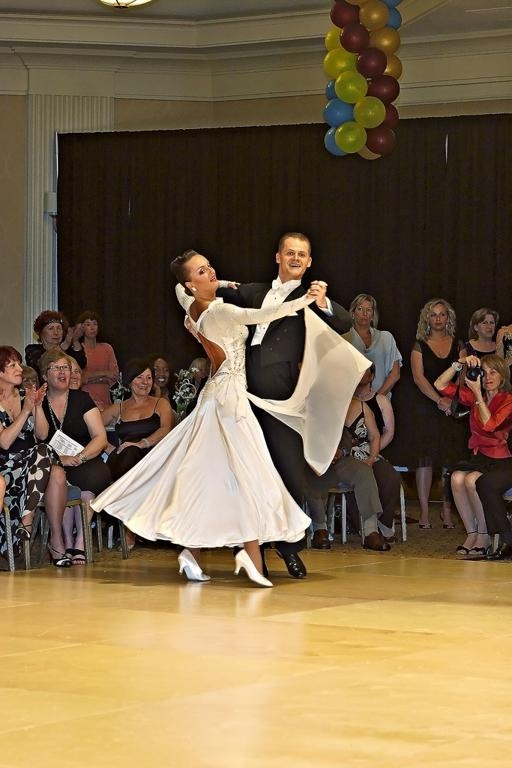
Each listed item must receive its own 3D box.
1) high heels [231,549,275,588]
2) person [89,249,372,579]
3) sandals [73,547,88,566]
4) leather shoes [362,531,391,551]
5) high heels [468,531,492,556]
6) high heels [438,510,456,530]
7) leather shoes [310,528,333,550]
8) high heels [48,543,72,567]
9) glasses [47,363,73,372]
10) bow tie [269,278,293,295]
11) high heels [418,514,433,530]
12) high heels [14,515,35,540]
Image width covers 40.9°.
[{"bbox_3d":[-0.021,0.935,3.473,0.150,0.193,0.224,1,-3,-39],"label":"high heels"},{"bbox_3d":[-0.147,0.173,3.577,1.322,1.745,0.630,-1,-2,13],"label":"person"},{"bbox_3d":[-1.125,1.087,4.322,0.088,0.071,0.163,0,-2,-15],"label":"sandals"},{"bbox_3d":[0.867,1.133,4.949,0.087,0.094,0.232,0,-7,-26],"label":"leather shoes"},{"bbox_3d":[1.481,1.061,4.530,0.150,0.132,0.363,-1,-2,19],"label":"high heels"},{"bbox_3d":[1.762,1.232,6.237,0.097,0.125,0.303,1,-8,-3],"label":"high heels"},{"bbox_3d":[0.466,1.136,5.033,0.129,0.126,0.333,-1,-9,-5],"label":"leather shoes"},{"bbox_3d":[-1.203,1.051,4.211,0.111,0.121,0.168,1,-3,-31],"label":"high heels"},{"bbox_3d":[-1.311,-0.116,4.511,0.133,0.042,0.060,1,-3,-26],"label":"glasses"},{"bbox_3d":[0.127,-0.512,3.563,0.122,0.081,0.046,6,-13,36],"label":"bow tie"},{"bbox_3d":[1.526,1.243,6.140,0.117,0.118,0.107,1,-6,-1],"label":"high heels"},{"bbox_3d":[-1.428,0.858,4.177,0.098,0.160,0.402,0,-2,-20],"label":"high heels"}]
